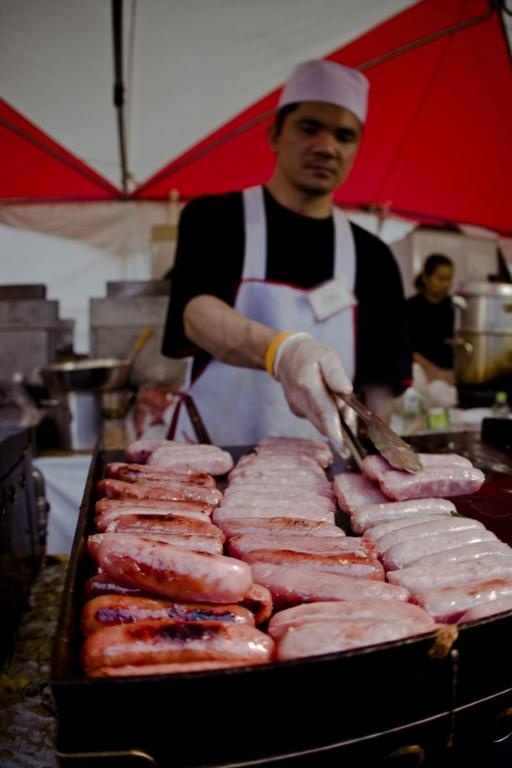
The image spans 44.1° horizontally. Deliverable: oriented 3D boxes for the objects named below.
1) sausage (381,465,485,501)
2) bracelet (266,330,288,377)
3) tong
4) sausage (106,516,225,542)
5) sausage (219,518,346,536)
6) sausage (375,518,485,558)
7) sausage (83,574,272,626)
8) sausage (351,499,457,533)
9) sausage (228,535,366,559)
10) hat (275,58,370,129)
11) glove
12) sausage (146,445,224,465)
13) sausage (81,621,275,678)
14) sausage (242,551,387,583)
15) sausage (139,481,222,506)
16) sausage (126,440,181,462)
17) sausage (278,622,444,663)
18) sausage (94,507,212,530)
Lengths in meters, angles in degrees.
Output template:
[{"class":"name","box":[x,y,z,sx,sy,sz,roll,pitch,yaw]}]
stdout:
[{"class":"sausage","box":[0.538,0.275,1.927,0.299,0.071,0.130,-2,-3,-16]},{"class":"bracelet","box":[0.065,-0.117,2.239,0.034,0.128,0.135,11,-8,7]},{"class":"tong","box":[0.342,0.112,1.977,0.123,0.096,0.396,-11,40,-28]},{"class":"sausage","box":[-0.225,0.350,1.579,0.219,0.058,0.107,6,-3,-7]},{"class":"sausage","box":[0.069,0.388,1.708,0.327,0.038,0.118,0,7,-5]},{"class":"sausage","box":[0.461,0.389,1.681,0.260,0.070,0.116,-9,6,-7]},{"class":"sausage","box":[-0.168,0.465,1.361,0.315,0.085,0.148,6,-19,-3]},{"class":"sausage","box":[0.409,0.344,1.836,0.334,0.090,0.107,-5,-1,-21]},{"class":"sausage","box":[0.119,0.405,1.596,0.230,0.051,0.120,1,-2,-1]},{"class":"hat","box":[0.260,-1.227,2.650,0.358,0.191,0.381,-3,12,-32]},{"class":"glove","box":[0.183,-0.003,2.095,0.159,0.460,0.217,-8,-34,-35]},{"class":"sausage","box":[-0.239,0.242,2.204,0.200,0.065,0.097,0,2,-12]},{"class":"sausage","box":[-0.156,0.473,1.205,0.305,0.091,0.131,3,0,-6]},{"class":"sausage","box":[0.129,0.431,1.490,0.387,0.077,0.099,2,-1,-2]},{"class":"sausage","box":[-0.221,0.325,1.908,0.188,0.046,0.098,6,0,-12]},{"class":"sausage","box":[-0.373,0.232,2.307,0.180,0.071,0.078,-4,-2,-20]},{"class":"sausage","box":[0.183,0.494,1.249,0.233,0.050,0.116,-7,-7,-11]},{"class":"sausage","box":[-0.270,0.342,1.634,0.209,0.055,0.110,4,-11,-5]}]
